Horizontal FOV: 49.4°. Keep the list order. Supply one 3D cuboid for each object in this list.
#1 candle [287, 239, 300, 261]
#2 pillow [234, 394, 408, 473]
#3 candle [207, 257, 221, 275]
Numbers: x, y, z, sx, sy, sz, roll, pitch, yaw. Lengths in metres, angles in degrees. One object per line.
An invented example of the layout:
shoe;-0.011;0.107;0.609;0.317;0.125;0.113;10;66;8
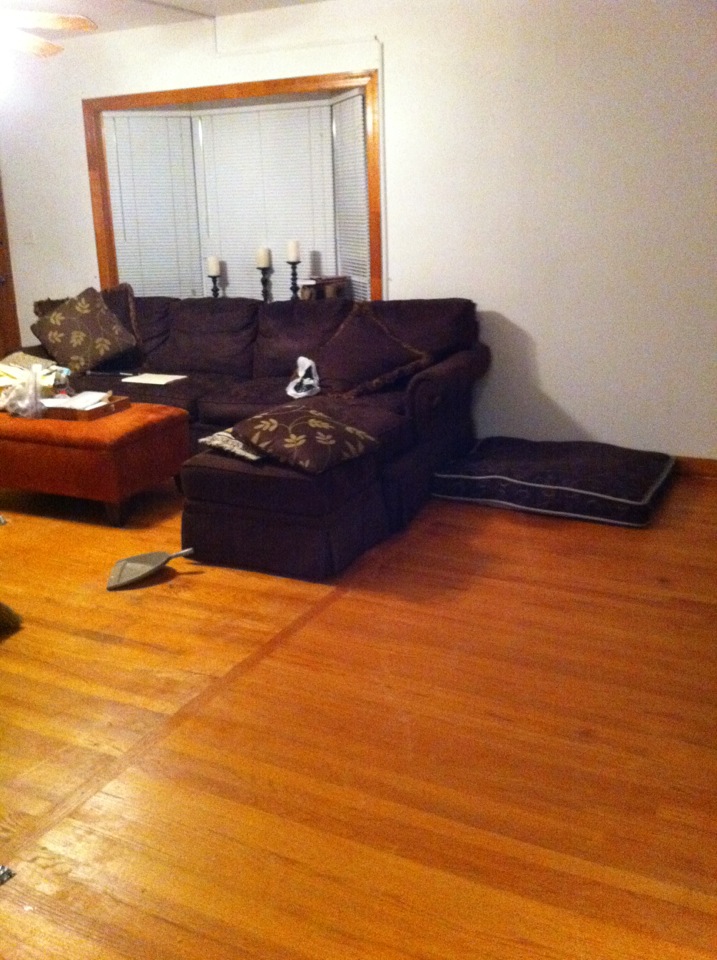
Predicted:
candle;-0.400;-1.363;4.681;0.070;0.127;0.089;0;15;7
pillow;-0.091;-0.184;3.001;0.383;0.121;0.523;15;20;31
candle;-0.977;-1.420;5.222;0.076;0.127;0.092;-6;16;-15
